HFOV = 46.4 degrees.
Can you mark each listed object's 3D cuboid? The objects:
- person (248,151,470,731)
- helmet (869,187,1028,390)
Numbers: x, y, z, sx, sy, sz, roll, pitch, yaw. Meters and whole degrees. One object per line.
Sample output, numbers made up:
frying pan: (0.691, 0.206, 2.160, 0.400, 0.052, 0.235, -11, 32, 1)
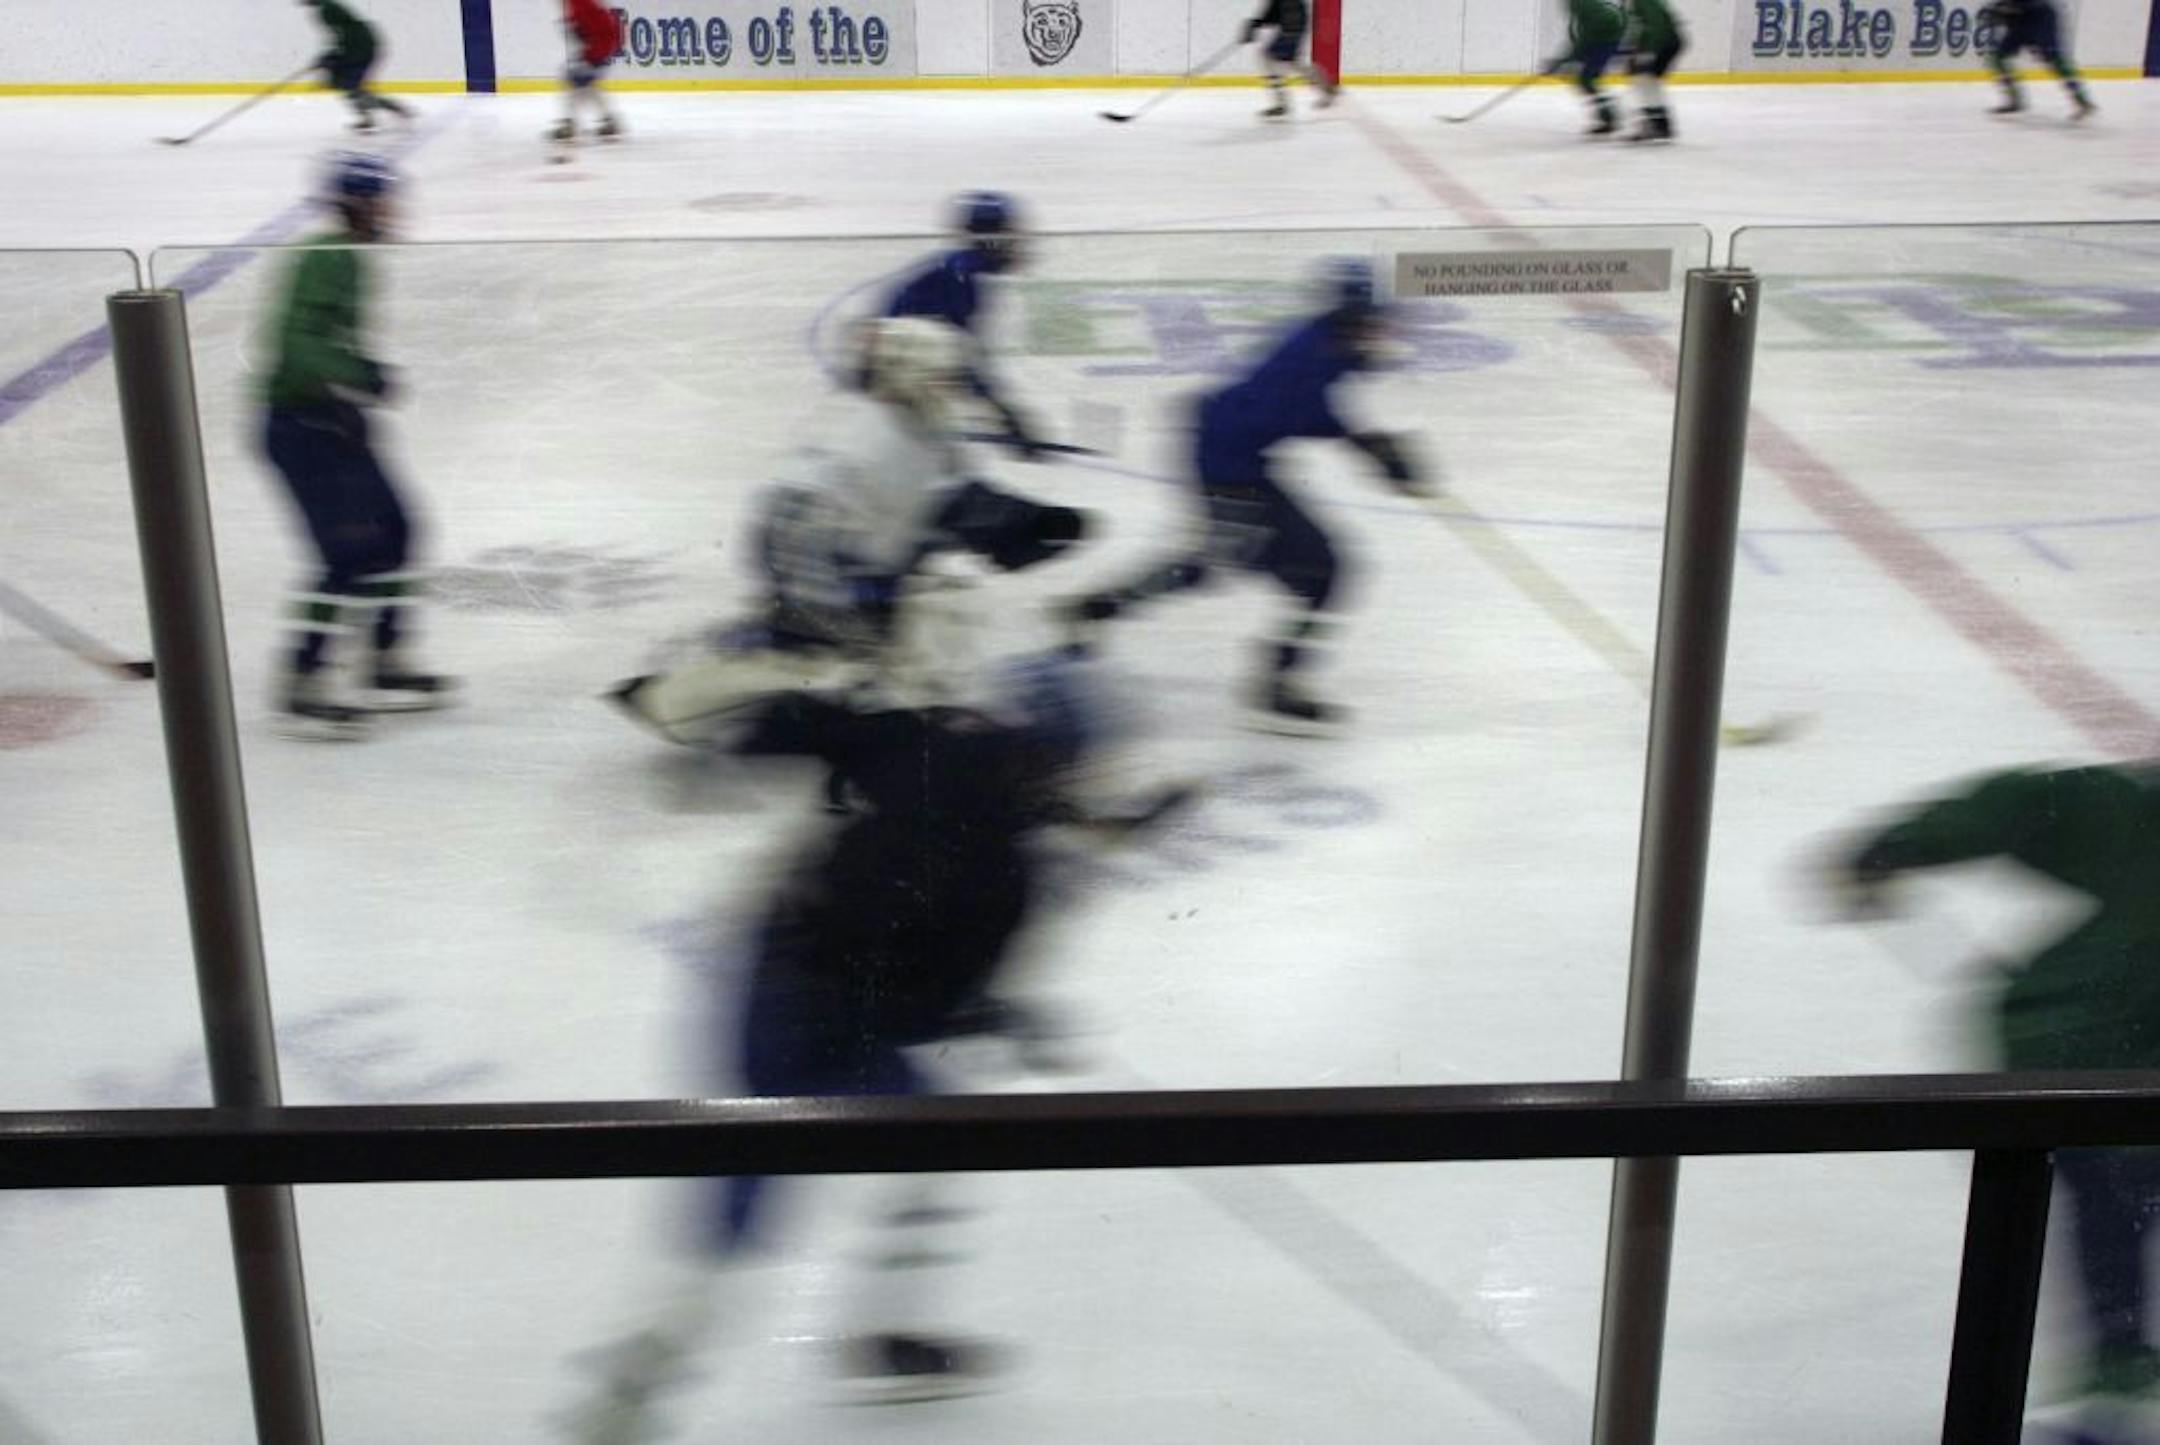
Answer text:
person: (-0.786, -0.251, 2.631, 0.176, 0.507, 0.206, -8, 19, -12)
helmet: (-0.106, -0.435, 2.603, 0.124, 0.151, 0.131, 9, 19, 33)
